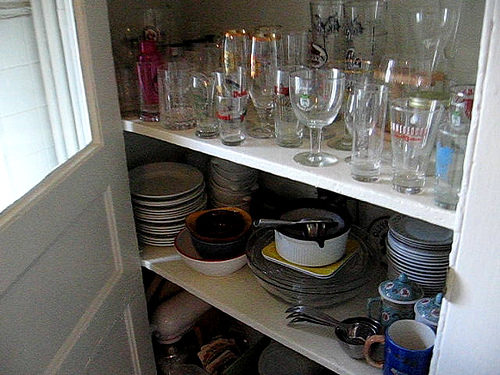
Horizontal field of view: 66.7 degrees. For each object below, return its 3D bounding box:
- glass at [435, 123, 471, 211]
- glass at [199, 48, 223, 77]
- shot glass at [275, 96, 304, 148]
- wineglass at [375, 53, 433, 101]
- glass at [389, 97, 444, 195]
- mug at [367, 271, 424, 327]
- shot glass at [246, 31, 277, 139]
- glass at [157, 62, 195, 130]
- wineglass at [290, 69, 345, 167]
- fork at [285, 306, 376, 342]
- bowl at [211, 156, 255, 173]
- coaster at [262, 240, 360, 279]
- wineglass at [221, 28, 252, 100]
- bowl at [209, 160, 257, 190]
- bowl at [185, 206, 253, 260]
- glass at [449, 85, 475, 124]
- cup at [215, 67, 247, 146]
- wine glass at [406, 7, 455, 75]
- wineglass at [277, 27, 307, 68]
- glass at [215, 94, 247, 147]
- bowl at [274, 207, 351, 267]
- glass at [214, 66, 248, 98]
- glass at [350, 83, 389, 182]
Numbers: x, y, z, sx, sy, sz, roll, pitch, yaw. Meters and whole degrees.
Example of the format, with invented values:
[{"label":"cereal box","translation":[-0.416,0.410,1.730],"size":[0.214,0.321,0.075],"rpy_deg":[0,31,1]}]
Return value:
[{"label":"glass","translation":[0.350,-0.040,0.670],"size":[0.050,0.144,0.079],"rpy_deg":[10,28,22]},{"label":"glass","translation":[-0.104,-0.394,1.196],"size":[0.090,0.089,0.086],"rpy_deg":[4,26,7]},{"label":"shot glass","translation":[0.095,-0.161,0.924],"size":[0.079,0.116,0.077],"rpy_deg":[11,39,26]},{"label":"wineglass","translation":[0.327,-0.249,0.882],"size":[0.143,0.120,0.132],"rpy_deg":[1,22,5]},{"label":"glass","translation":[0.311,-0.079,0.722],"size":[0.094,0.165,0.102],"rpy_deg":[5,26,12]},{"label":"mug","translation":[0.362,0.286,0.946],"size":[0.115,0.134,0.142],"rpy_deg":[1,0,-20]},{"label":"shot glass","translation":[0.043,-0.286,1.054],"size":[0.122,0.262,0.102],"rpy_deg":[-3,28,1]},{"label":"glass","translation":[-0.217,-0.259,1.102],"size":[0.110,0.162,0.118],"rpy_deg":[18,27,42]},{"label":"wineglass","translation":[0.151,-0.163,0.860],"size":[0.118,0.193,0.165],"rpy_deg":[-5,25,-8]},{"label":"fork","translation":[0.205,0.338,1.007],"size":[0.234,0.031,0.064],"rpy_deg":[18,32,28]},{"label":"bowl","translation":[-0.071,-0.077,1.291],"size":[0.152,0.045,0.048],"rpy_deg":[6,26,16]},{"label":"coaster","translation":[0.190,0.199,1.182],"size":[0.308,0.023,0.294],"rpy_deg":[1,19,3]},{"label":"wineglass","translation":[-0.061,-0.358,1.134],"size":[0.134,0.203,0.122],"rpy_deg":[-4,28,-15]},{"label":"bowl","translation":[-0.080,-0.056,1.320],"size":[0.103,0.034,0.108],"rpy_deg":[2,25,-1]},{"label":"bowl","translation":[-0.098,0.156,1.221],"size":[0.205,0.118,0.182],"rpy_deg":[-15,35,-28]},{"label":"glass","translation":[0.395,-0.161,0.712],"size":[0.036,0.054,0.164],"rpy_deg":[11,26,24]},{"label":"cup","translation":[-0.048,-0.212,0.979],"size":[0.081,0.178,0.149],"rpy_deg":[-1,25,0]},{"label":"wine glass","translation":[0.423,-0.361,0.915],"size":[0.093,0.139,0.275],"rpy_deg":[7,25,17]},{"label":"wineglass","translation":[0.120,-0.373,1.021],"size":[0.070,0.089,0.135],"rpy_deg":[-4,24,-6]},{"label":"glass","translation":[-0.056,-0.177,1.000],"size":[0.087,0.123,0.092],"rpy_deg":[13,22,39]},{"label":"bowl","translation":[0.179,0.146,1.153],"size":[0.224,0.075,0.217],"rpy_deg":[-5,13,1]},{"label":"glass","translation":[-0.043,-0.273,0.992],"size":[0.099,0.066,0.098],"rpy_deg":[3,20,9]},{"label":"glass","translation":[0.243,-0.108,0.819],"size":[0.082,0.197,0.079],"rpy_deg":[2,-4,34]}]
